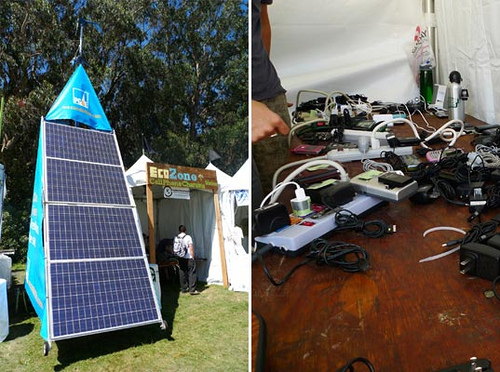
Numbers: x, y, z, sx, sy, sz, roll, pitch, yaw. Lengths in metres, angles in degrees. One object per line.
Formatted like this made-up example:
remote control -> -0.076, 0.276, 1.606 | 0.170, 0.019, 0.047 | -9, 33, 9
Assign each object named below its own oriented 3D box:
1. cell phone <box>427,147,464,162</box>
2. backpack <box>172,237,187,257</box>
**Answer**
cell phone -> 0.628, -0.105, 1.226 | 0.120, 0.027, 0.068 | -13, 7, -2
backpack -> -1.248, 1.072, 6.825 | 0.164, 0.359, 0.594 | -8, 0, -35
